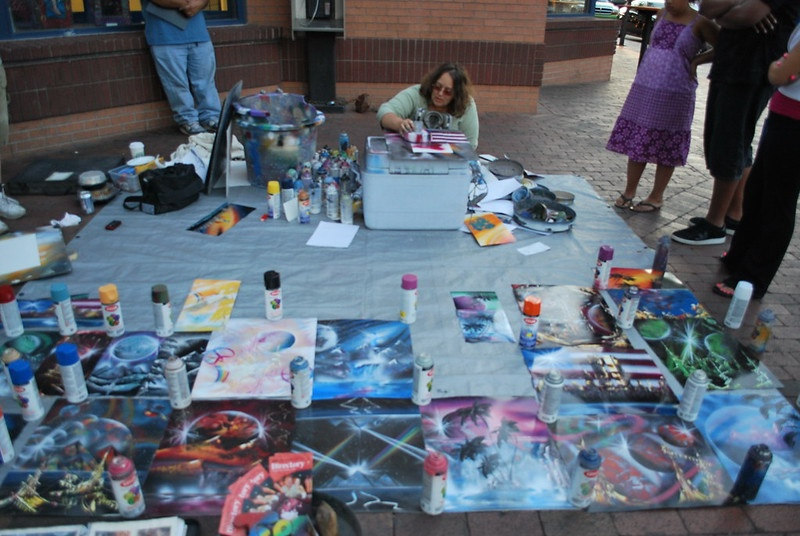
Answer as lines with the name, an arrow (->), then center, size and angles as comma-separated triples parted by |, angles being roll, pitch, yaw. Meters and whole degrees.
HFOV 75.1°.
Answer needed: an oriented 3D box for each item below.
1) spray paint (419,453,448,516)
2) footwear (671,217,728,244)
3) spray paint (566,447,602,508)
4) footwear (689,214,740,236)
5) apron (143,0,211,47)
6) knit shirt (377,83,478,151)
spray paint -> 0.183, 1.091, 2.717 | 0.132, 0.355, 0.222 | 4, 32, 9
footwear -> 2.907, -0.375, 5.130 | 0.565, 0.252, 0.216 | 2, 26, 3
spray paint -> 0.986, 1.127, 2.761 | 0.117, 0.388, 0.109 | -8, 43, -17
footwear -> 3.096, -0.420, 5.084 | 0.426, 0.159, 0.138 | 10, 41, -2
apron -> -2.987, -3.236, 6.865 | 0.762, 0.731, 0.422 | 0, -1, -27
knit shirt -> 0.336, -1.609, 5.204 | 0.909, 0.845, 0.365 | 17, 11, 3
